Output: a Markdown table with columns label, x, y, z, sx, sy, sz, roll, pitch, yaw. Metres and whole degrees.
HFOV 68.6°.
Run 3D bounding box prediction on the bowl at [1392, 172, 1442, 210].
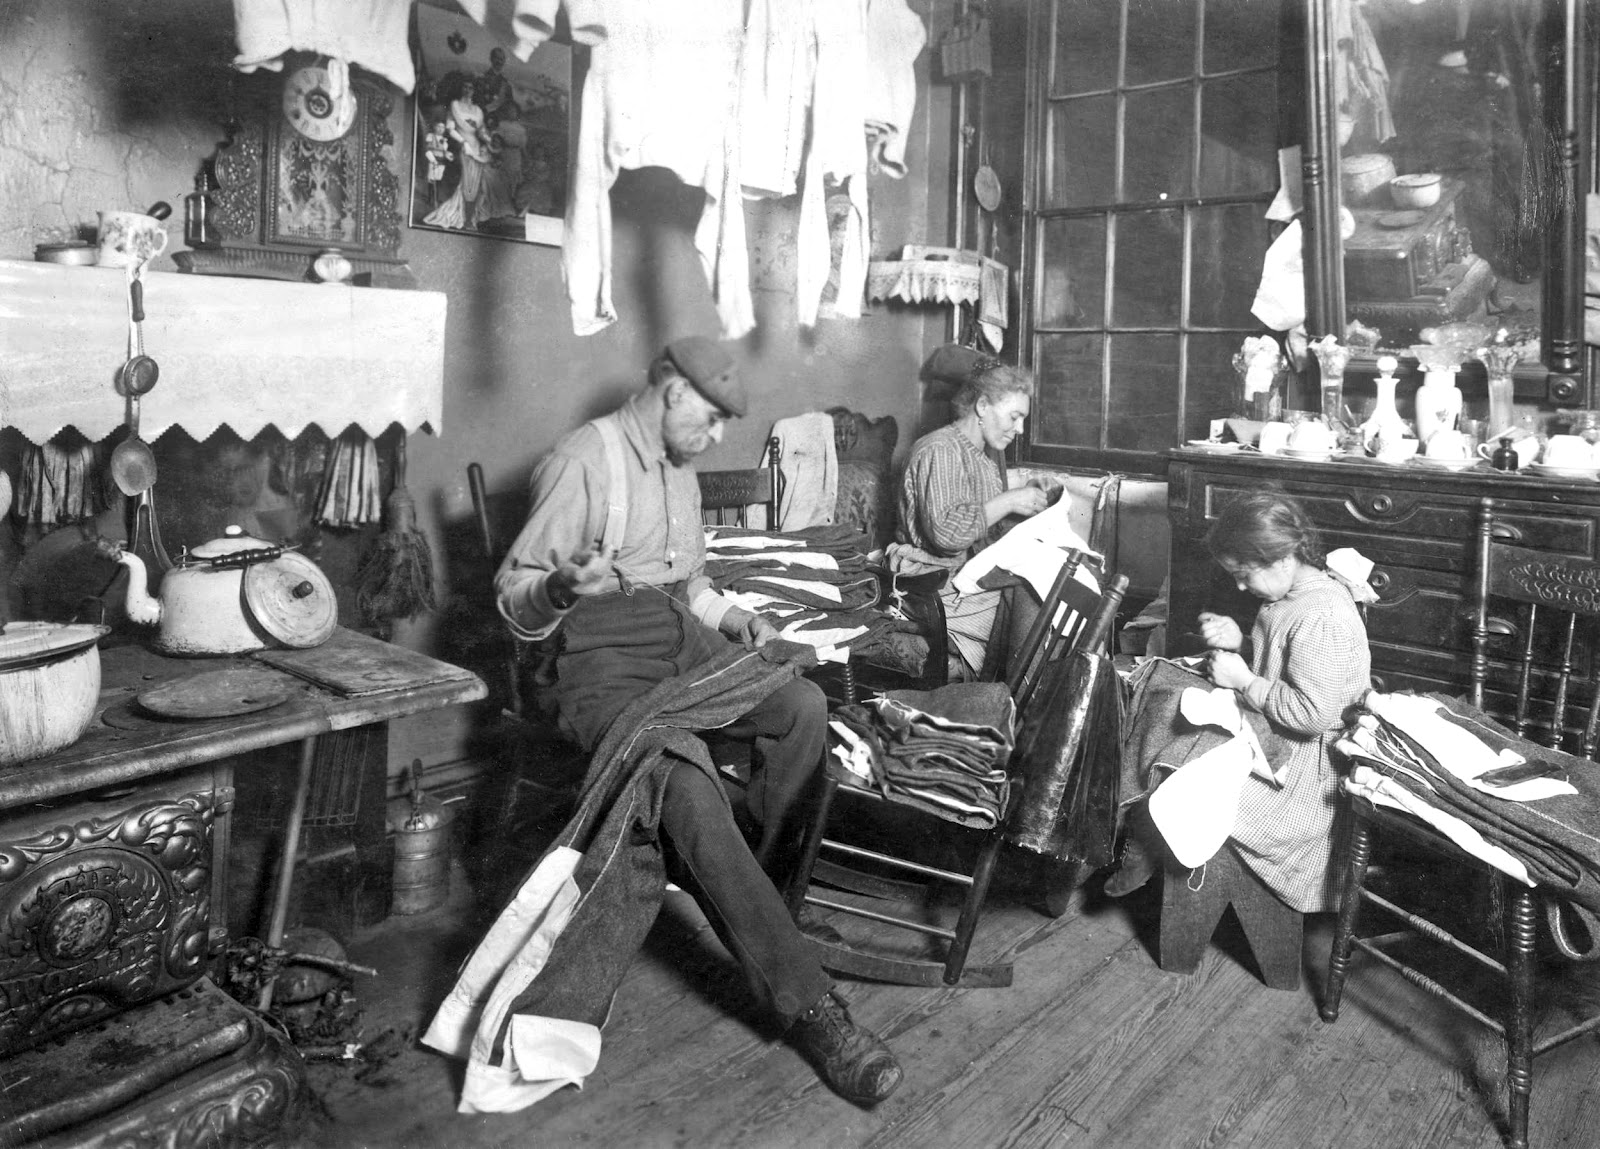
| label | x | y | z | sx | sy | sz | roll | pitch | yaw |
| --- | --- | --- | --- | --- | --- | --- | --- | --- | --- |
| bowl | 2.254 | -1.404 | 4.288 | 0.123 | 0.078 | 0.128 | -5 | 14 | 1 |

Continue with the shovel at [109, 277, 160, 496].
| label | x | y | z | sx | sy | sz | roll | pitch | yaw |
| --- | --- | --- | --- | --- | --- | --- | --- | --- | --- |
| shovel | -1.712 | -0.496 | 3.022 | 0.097 | 0.583 | 0.115 | 15 | 13 | 37 |

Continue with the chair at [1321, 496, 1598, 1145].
| label | x | y | z | sx | sy | sz | roll | pitch | yaw |
| --- | --- | --- | --- | --- | --- | --- | --- | --- | --- |
| chair | 1.948 | 0.566 | 3.335 | 0.738 | 1.414 | 1.439 | 5 | 12 | 25 |

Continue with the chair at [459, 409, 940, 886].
| label | x | y | z | sx | sy | sz | roll | pitch | yaw |
| --- | --- | --- | --- | --- | --- | --- | --- | --- | --- |
| chair | -0.121 | 0.245 | 4.121 | 1.242 | 2.144 | 1.360 | -3 | -4 | 31 |

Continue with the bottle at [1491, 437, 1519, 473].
| label | x | y | z | sx | sy | sz | roll | pitch | yaw |
| --- | --- | --- | --- | --- | --- | --- | --- | --- | --- |
| bottle | 2.325 | -0.394 | 3.876 | 0.103 | 0.122 | 0.103 | -4 | 5 | -29 |

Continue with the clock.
| label | x | y | z | sx | sy | sz | roll | pitch | yaw |
| --- | --- | --- | --- | --- | --- | --- | --- | --- | --- |
| clock | -1.355 | -1.165 | 3.376 | 0.557 | 0.563 | 0.216 | 5 | 9 | -2 |

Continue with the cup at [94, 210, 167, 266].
| label | x | y | z | sx | sy | sz | roll | pitch | yaw |
| --- | --- | --- | --- | --- | --- | --- | --- | --- | --- |
| cup | -1.748 | -0.866 | 3.093 | 0.175 | 0.143 | 0.140 | -1 | 6 | -27 |

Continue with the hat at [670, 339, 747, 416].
| label | x | y | z | sx | sy | sz | roll | pitch | yaw |
| --- | --- | --- | --- | --- | --- | --- | --- | --- | --- |
| hat | -0.266 | -0.609 | 3.488 | 0.092 | 0.242 | 0.206 | -33 | 37 | 27 |

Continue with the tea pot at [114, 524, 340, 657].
| label | x | y | z | sx | sy | sz | roll | pitch | yaw |
| --- | --- | --- | --- | --- | --- | --- | --- | --- | --- |
| tea pot | -1.460 | 0.040 | 3.005 | 0.497 | 0.294 | 0.312 | -3 | 11 | -14 |

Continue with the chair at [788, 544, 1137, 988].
| label | x | y | z | sx | sy | sz | roll | pitch | yaw |
| --- | --- | --- | --- | --- | --- | --- | --- | --- | --- |
| chair | 0.278 | 0.755 | 3.876 | 1.034 | 1.237 | 0.864 | -1 | -29 | 27 |
